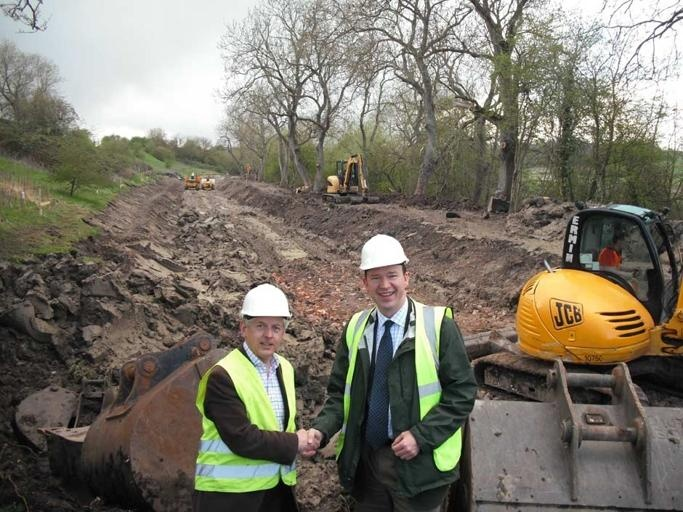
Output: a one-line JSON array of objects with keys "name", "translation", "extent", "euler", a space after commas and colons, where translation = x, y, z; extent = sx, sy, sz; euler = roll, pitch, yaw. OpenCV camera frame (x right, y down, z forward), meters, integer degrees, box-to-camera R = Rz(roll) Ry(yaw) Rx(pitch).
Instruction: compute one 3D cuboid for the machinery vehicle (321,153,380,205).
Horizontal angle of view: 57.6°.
[{"name": "machinery vehicle", "translation": [0.268, -3.204, 25.524], "extent": [1.534, 1.971, 3.002], "euler": [-1, 7, -27]}]
